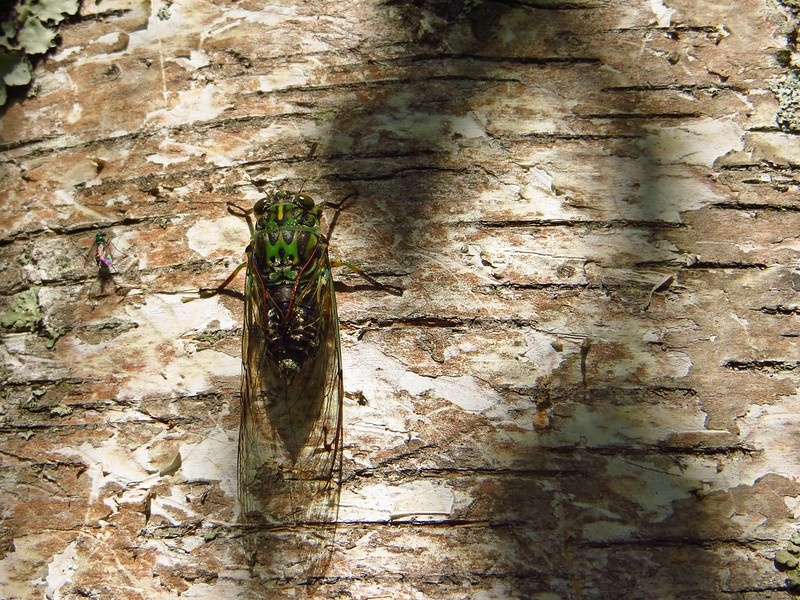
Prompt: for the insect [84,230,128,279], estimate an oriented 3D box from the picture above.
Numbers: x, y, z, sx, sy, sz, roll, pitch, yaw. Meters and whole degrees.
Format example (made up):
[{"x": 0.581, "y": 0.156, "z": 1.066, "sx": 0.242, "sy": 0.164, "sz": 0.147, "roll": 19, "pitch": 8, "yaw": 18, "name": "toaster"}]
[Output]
[{"x": -0.825, "y": -0.123, "z": 3.096, "sx": 0.139, "sy": 0.110, "sz": 0.039, "roll": -7, "pitch": -15, "yaw": -5, "name": "insect"}]
